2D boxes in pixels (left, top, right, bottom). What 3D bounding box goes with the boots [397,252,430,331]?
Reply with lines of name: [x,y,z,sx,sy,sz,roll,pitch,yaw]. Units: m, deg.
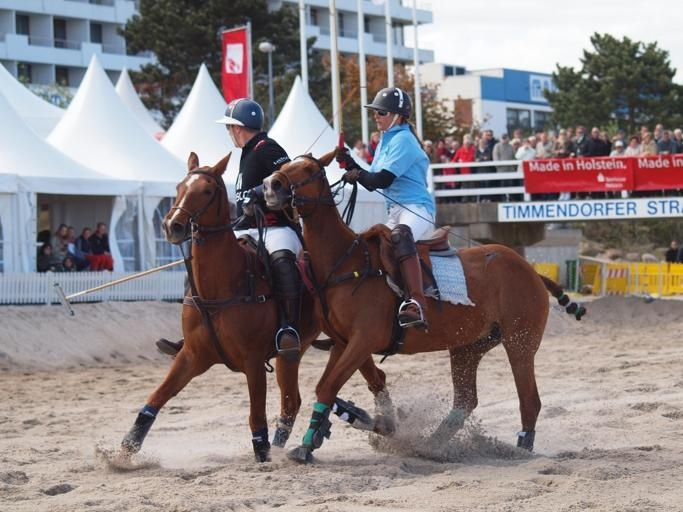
boots: [1.329,0.681,27.211,0.540,1.419,0.404,-2,3,-1]

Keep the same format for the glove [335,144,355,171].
glove: [0.068,-1.851,27.407,0.134,0.461,0.327,-25,-1,-17]

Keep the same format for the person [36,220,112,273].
person: [-6.693,-0.193,36.293,1.942,1.216,0.855,-3,3,-21]

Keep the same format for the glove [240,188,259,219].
glove: [-1.741,-1.005,27.385,0.175,0.492,0.315,-5,8,-39]
